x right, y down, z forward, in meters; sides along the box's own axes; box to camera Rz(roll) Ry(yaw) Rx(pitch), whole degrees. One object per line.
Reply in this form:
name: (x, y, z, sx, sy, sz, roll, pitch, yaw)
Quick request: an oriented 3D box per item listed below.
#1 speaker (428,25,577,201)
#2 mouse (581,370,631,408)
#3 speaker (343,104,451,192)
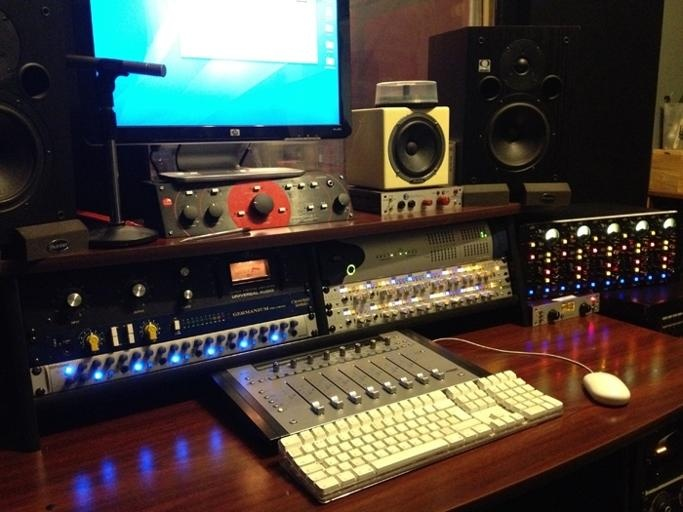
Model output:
speaker: (0.559, -0.523, 2.157, 0.553, 0.810, 0.561, -3, 8, -12)
mouse: (0.704, 0.347, 1.451, 0.099, 0.033, 0.135, -2, 21, -5)
speaker: (0.210, -0.364, 1.978, 0.300, 0.302, 0.310, -5, 8, -30)
